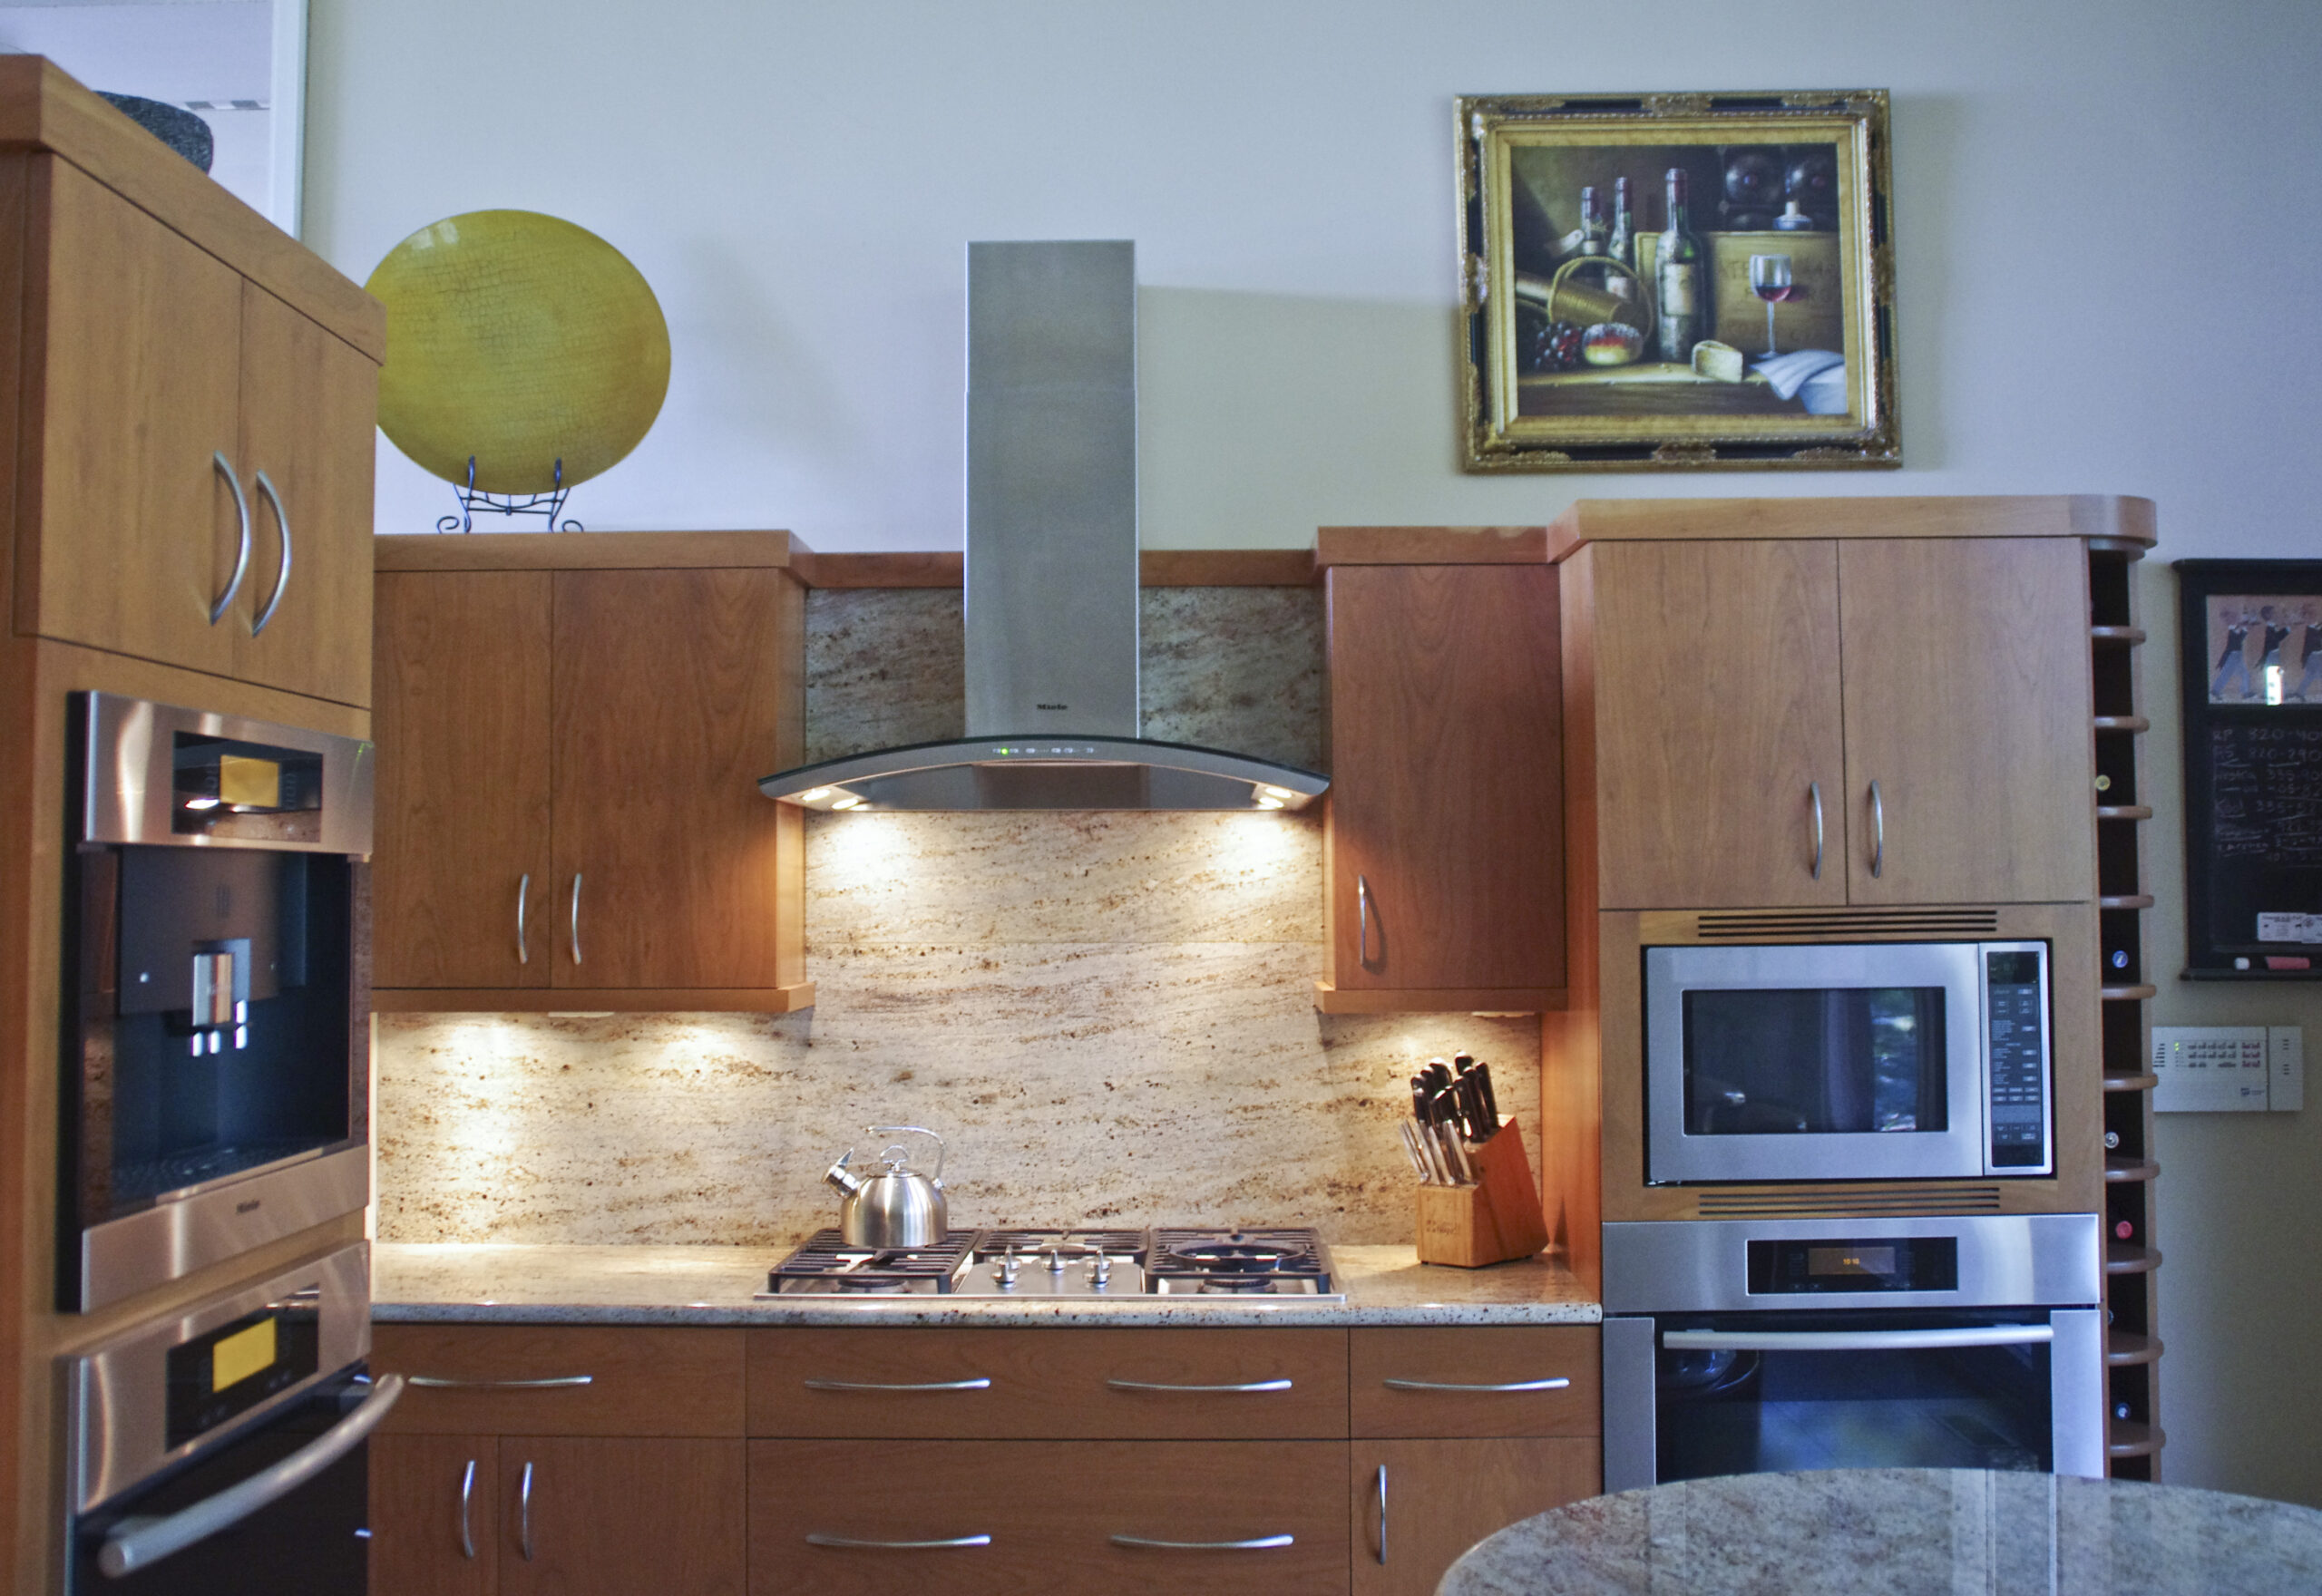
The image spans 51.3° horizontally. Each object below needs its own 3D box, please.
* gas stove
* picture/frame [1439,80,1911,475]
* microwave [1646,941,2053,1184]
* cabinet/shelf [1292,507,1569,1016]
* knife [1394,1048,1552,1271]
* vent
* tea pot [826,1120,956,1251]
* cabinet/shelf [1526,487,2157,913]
[{"bbox_3d":[-0.223,0.985,5.102,1.170,0.061,0.448,0,1,1],"label":"gas stove"},{"bbox_3d":[1.180,-1.160,5.466,0.937,0.750,0.072,0,-3,0],"label":"picture/frame"},{"bbox_3d":[1.337,0.535,5.103,1.007,0.570,0.546,2,-2,-16],"label":"microwave"},{"bbox_3d":[0.614,-0.043,5.906,0.930,1.528,0.855,0,-3,4],"label":"cabinet/shelf"},{"bbox_3d":[0.687,0.781,5.219,0.316,0.444,0.180,0,1,-5],"label":"knife"},{"bbox_3d":[-0.257,-0.568,5.139,1.268,1.188,0.358,-1,12,-14],"label":"vent"},{"bbox_3d":[-0.578,0.851,5.226,0.304,0.251,0.227,2,-4,-23],"label":"tea pot"},{"bbox_3d":[1.407,-0.150,5.107,1.248,0.878,0.441,0,-1,-4],"label":"cabinet/shelf"}]
